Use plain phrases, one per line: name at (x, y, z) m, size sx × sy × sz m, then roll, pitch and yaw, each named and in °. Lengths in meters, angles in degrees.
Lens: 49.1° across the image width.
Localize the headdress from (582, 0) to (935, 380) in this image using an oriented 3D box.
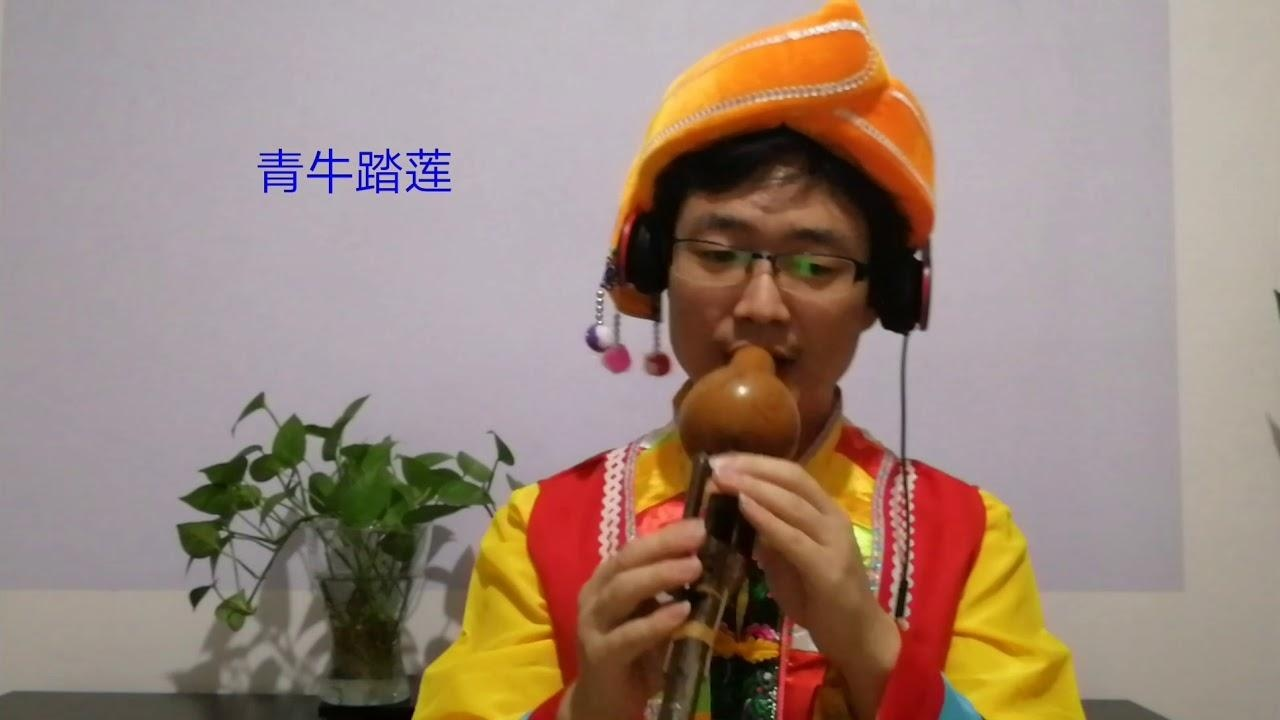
headdress at (0.310, -0.311, 2.957) m, size 0.560 × 0.700 × 0.797 m, roll 7°, pitch -44°, yaw 11°

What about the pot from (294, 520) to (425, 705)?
pot at (-0.648, 0.596, 3.325) m, size 0.379 × 0.427 × 0.375 m, roll 1°, pitch -6°, yaw 0°
